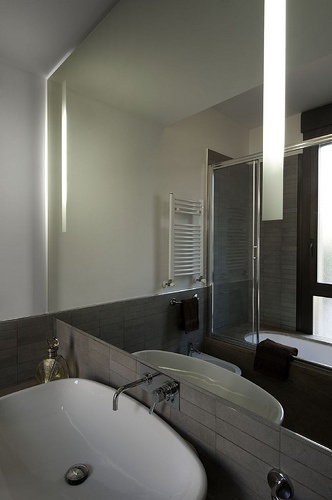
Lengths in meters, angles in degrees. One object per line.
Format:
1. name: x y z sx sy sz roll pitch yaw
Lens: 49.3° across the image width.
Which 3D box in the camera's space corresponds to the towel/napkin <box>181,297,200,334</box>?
1. towel/napkin: 0.069 0.191 1.075 0.021 0.113 0.107 1 12 -22
